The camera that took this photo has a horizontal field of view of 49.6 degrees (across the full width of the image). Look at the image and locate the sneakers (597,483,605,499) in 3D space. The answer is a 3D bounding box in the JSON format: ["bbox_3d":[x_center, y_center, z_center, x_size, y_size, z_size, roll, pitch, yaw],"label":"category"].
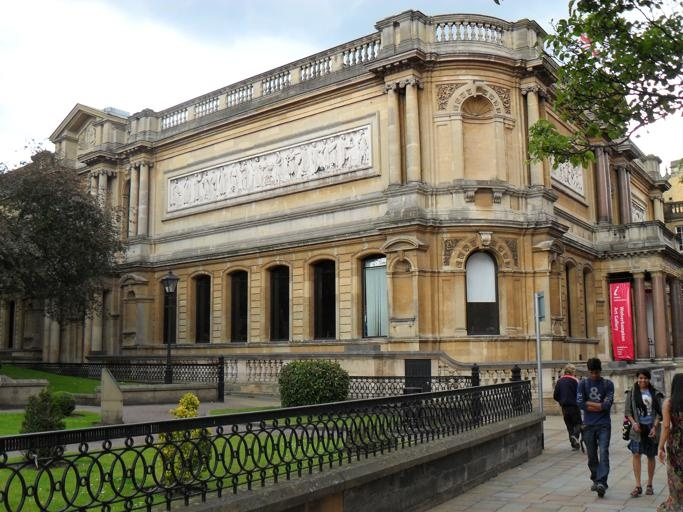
[{"bbox_3d":[4.773,4.272,13.505,0.099,0.129,0.303,-5,-45,30],"label":"sneakers"}]
